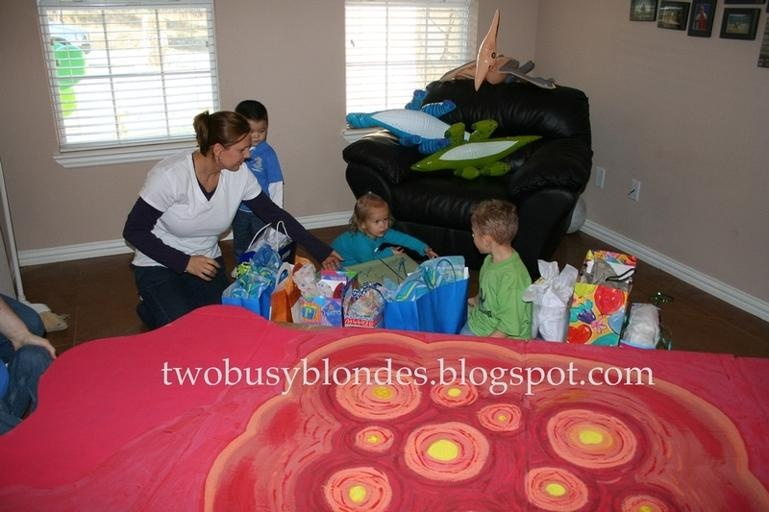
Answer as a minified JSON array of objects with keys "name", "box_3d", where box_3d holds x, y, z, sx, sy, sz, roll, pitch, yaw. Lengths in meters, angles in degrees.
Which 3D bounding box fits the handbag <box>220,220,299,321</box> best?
[{"name":"handbag","box_3d":[-0.585,0.063,2.517,0.138,0.394,0.392,16,-9,16]}]

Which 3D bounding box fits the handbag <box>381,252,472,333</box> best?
[{"name":"handbag","box_3d":[0.202,0.259,2.486,0.364,0.507,0.251,-14,28,-17]}]

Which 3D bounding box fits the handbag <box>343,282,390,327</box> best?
[{"name":"handbag","box_3d":[-0.086,0.209,2.441,0.187,0.083,0.260,-2,33,19]}]

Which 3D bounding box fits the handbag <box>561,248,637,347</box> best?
[{"name":"handbag","box_3d":[0.972,0.169,2.393,0.268,0.462,0.300,15,42,33]}]

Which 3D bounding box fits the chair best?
[{"name":"chair","box_3d":[0.747,-0.332,4.037,1.743,1.332,1.349,8,32,16]}]

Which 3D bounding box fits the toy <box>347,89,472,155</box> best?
[{"name":"toy","box_3d":[0.104,-1.012,3.949,0.708,0.504,0.283,16,-8,-1]}]

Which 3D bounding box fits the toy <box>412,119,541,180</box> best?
[{"name":"toy","box_3d":[0.636,-0.680,3.807,0.830,0.432,0.293,-7,-22,1]}]

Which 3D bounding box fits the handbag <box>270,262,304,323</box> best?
[{"name":"handbag","box_3d":[-0.428,0.170,2.302,0.078,0.239,0.165,14,27,8]}]

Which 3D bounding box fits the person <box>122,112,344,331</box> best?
[{"name":"person","box_3d":[-0.774,-0.108,2.836,1.073,1.254,0.549,7,12,-14]}]

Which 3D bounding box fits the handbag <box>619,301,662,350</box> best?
[{"name":"handbag","box_3d":[1.117,0.288,2.273,0.164,0.237,0.065,11,-17,30]}]

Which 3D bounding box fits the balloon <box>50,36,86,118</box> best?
[{"name":"balloon","box_3d":[-2.147,-1.252,3.622,0.200,0.458,0.079,-4,22,-11]}]
